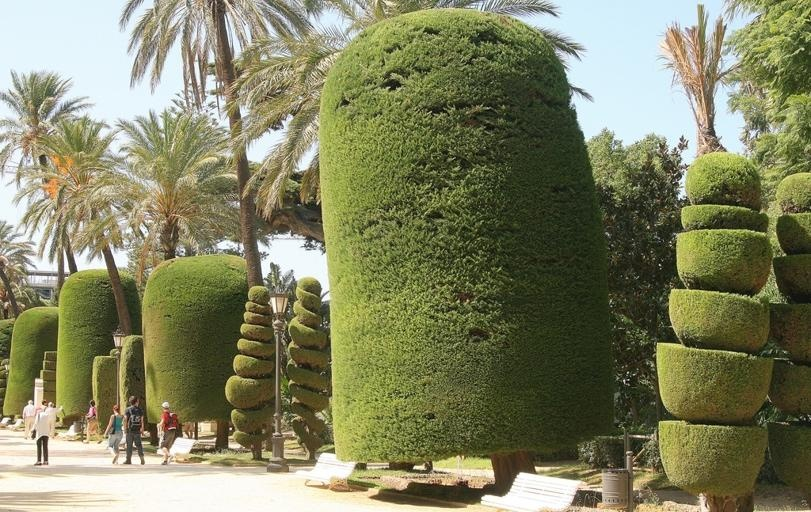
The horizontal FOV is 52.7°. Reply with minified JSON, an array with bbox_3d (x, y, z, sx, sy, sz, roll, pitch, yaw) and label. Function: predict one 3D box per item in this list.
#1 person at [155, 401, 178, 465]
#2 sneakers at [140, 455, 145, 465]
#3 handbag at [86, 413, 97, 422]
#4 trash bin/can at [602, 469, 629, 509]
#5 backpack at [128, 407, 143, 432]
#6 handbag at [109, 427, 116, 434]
[{"bbox_3d":[-7.507,5.602,26.236,0.513,1.903,1.370,3,-11,-14],"label":"person"},{"bbox_3d":[-8.035,6.256,25.254,0.133,0.318,0.136,-2,1,-28],"label":"sneakers"},{"bbox_3d":[-13.143,6.751,34.490,0.604,0.354,0.348,13,-15,-35],"label":"handbag"},{"bbox_3d":[4.555,5.026,17.821,0.775,0.793,0.760,1,-10,0],"label":"trash bin/can"},{"bbox_3d":[-8.012,4.818,24.433,0.414,0.744,0.275,7,-13,-32],"label":"backpack"},{"bbox_3d":[-9.201,5.511,25.929,0.149,0.139,0.143,10,-14,-43],"label":"handbag"}]
